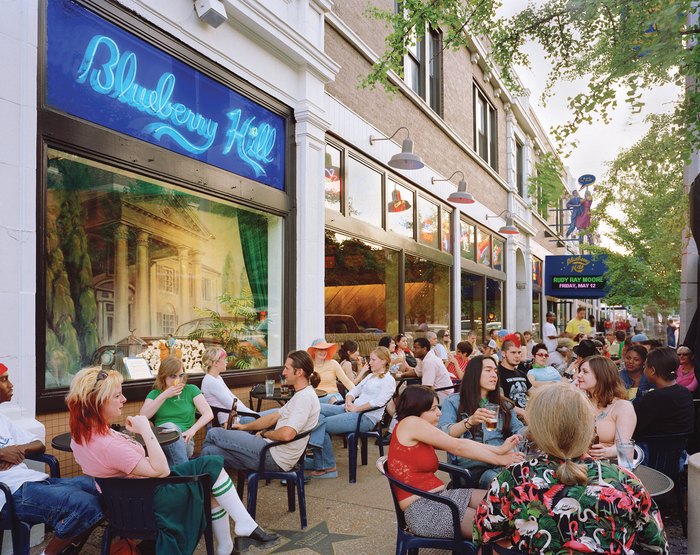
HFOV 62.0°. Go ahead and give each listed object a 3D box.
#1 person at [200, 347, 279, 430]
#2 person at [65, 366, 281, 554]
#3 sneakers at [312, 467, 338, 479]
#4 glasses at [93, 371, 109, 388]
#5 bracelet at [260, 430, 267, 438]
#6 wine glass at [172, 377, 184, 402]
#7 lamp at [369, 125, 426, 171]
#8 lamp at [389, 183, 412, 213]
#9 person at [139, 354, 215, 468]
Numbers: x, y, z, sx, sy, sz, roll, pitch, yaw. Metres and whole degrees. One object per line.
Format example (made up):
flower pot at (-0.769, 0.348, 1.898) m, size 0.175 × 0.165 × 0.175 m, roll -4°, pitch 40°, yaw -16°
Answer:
person at (-1.286, 1.239, 6.845) m, size 0.991 × 1.223 × 0.553 m, roll 0°, pitch 0°, yaw -13°
person at (-1.492, 1.541, 4.681) m, size 1.437 × 1.645 × 0.472 m, roll 2°, pitch -5°, yaw -29°
sneakers at (-0.305, 2.347, 6.988) m, size 0.314 × 0.144 × 0.121 m, roll 6°, pitch -10°, yaw -16°
glasses at (-1.937, 0.794, 4.541) m, size 0.062 × 0.095 × 0.042 m, roll 21°, pitch -11°, yaw 36°
bracelet at (-0.860, 1.574, 5.828) m, size 0.088 × 0.037 × 0.072 m, roll -2°, pitch -3°, yaw 24°
wine glass at (-1.810, 1.165, 6.230) m, size 0.121 × 0.168 × 0.166 m, roll 4°, pitch -7°, yaw -12°
lamp at (0.799, -2.359, 10.410) m, size 0.896 × 0.681 × 0.556 m, roll 4°, pitch -4°, yaw 15°
lamp at (1.215, -1.775, 13.725) m, size 0.565 × 0.663 × 0.600 m, roll -5°, pitch -26°, yaw -9°
person at (-1.803, 1.546, 6.052) m, size 0.687 × 1.391 × 0.970 m, roll 2°, pitch -13°, yaw -24°
